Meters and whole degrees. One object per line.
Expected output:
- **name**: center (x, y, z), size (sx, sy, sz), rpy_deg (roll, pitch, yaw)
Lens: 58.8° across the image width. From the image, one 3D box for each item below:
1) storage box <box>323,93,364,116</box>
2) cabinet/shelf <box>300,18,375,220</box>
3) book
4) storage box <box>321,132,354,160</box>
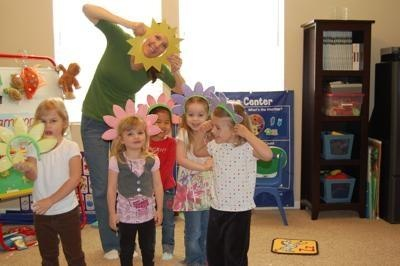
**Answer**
- **storage box**: center (1.645, -0.327, 4.027), size (0.400, 0.250, 0.122), rpy_deg (3, 13, 17)
- **cabinet/shelf**: center (1.654, -0.168, 4.329), size (0.783, 2.198, 0.747), rpy_deg (2, 0, 22)
- **book**: center (1.596, -0.931, 4.008), size (0.482, 0.446, 0.058), rpy_deg (1, 1, -4)
- **storage box**: center (1.587, 0.166, 4.224), size (0.442, 0.276, 0.361), rpy_deg (-2, -2, -6)
